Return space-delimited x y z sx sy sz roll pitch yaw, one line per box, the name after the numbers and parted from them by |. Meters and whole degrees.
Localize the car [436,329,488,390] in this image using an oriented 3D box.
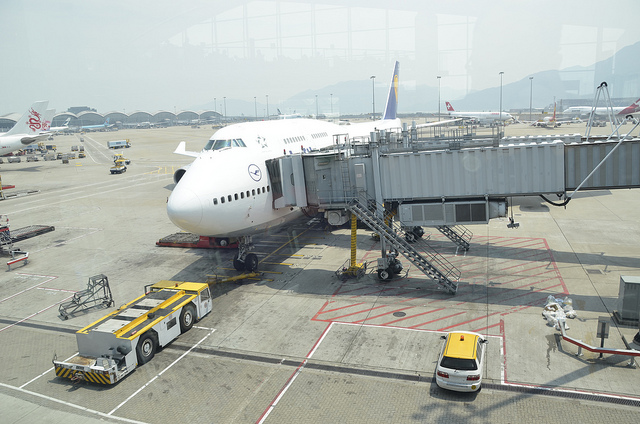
8.161 8.062 27.215 2.951 1.950 5.502 2 17 16 | car

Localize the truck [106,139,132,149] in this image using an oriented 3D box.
-62.651 -20.969 146.842 2.400 2.450 7.472 0 17 17 | truck

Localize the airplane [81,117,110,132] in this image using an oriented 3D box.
-144.604 -57.874 308.332 6.016 6.864 18.472 5 20 30 | airplane
